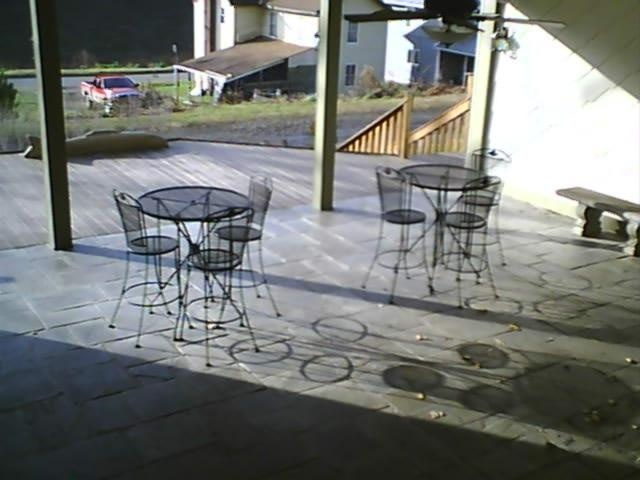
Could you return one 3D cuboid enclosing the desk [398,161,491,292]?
[{"bbox_3d":[1.444,-0.203,5.892,0.985,0.885,0.948,-13,9,-40],"label":"desk"}]

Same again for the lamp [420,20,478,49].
[{"bbox_3d":[1.039,-1.654,4.237,0.386,0.126,0.340,-15,32,-27],"label":"lamp"}]
